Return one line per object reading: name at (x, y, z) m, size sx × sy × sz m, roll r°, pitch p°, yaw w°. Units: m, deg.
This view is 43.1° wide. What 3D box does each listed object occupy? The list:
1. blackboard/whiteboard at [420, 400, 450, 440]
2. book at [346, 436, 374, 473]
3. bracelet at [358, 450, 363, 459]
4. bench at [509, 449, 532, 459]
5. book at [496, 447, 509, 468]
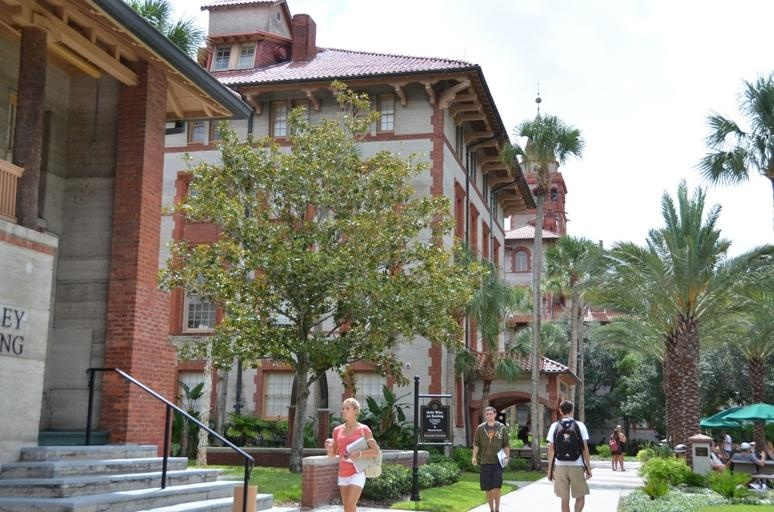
blackboard/whiteboard at (1.660, 5.671, 34.145) m, size 1.012 × 1.338 × 0.524 m, roll -4°, pitch -15°, yaw 8°
book at (-0.560, 4.471, 22.064) m, size 0.182 × 0.654 × 0.693 m, roll -19°, pitch -9°, yaw 18°
bracelet at (-0.593, 4.463, 22.026) m, size 0.079 × 0.109 × 0.033 m, roll -2°, pitch -4°, yaw 33°
bench at (6.310, 9.295, 46.335) m, size 0.861 × 0.536 × 0.982 m, roll -3°, pitch -15°, yaw 6°
book at (2.995, 5.248, 25.236) m, size 0.103 × 0.446 × 0.427 m, roll -7°, pitch 24°, yaw 22°
